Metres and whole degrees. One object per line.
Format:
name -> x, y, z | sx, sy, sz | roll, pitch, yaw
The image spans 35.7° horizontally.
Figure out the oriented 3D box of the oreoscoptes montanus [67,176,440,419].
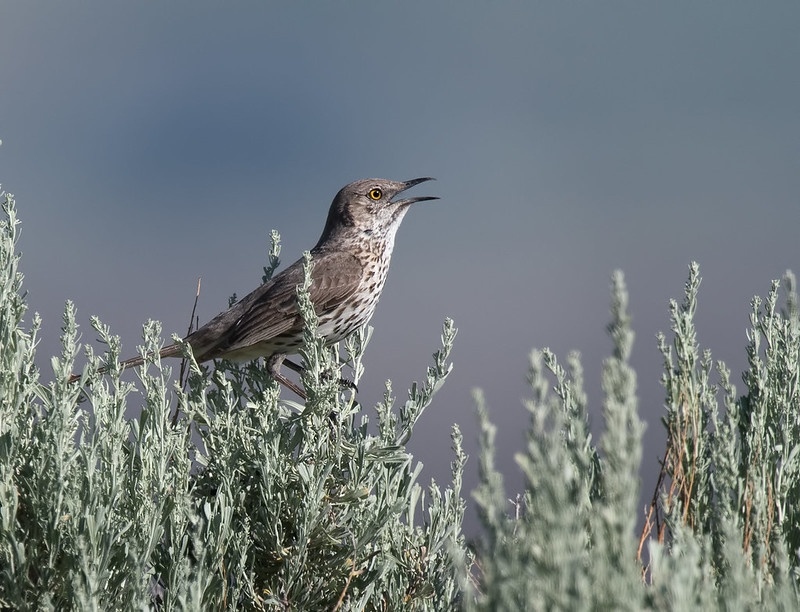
oreoscoptes montanus -> -0.678, -0.082, 5.930 | 1.772, 1.075, 0.515 | -1, 2, -13
